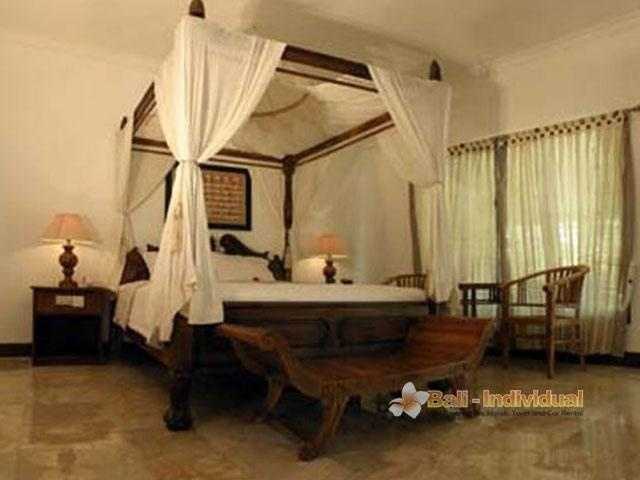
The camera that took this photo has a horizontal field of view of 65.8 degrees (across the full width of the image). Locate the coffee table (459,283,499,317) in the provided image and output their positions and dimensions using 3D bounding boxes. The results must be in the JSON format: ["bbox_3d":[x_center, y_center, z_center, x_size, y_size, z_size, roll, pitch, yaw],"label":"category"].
[{"bbox_3d":[1.894,0.716,5.877,0.455,0.471,0.691,1,2,20],"label":"coffee table"}]

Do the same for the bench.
[{"bbox_3d":[0.328,0.921,3.614,1.849,0.734,1.037,-1,2,-35],"label":"bench"}]

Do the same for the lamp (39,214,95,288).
[{"bbox_3d":[-2.863,0.101,5.685,0.562,0.833,0.621,-1,2,-24],"label":"lamp"}]

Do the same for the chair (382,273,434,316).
[{"bbox_3d":[1.009,0.556,5.700,0.341,0.454,0.310,5,-8,-19],"label":"chair"}]

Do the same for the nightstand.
[{"bbox_3d":[-2.807,0.931,5.552,0.742,0.737,0.571,3,-11,-20],"label":"nightstand"}]

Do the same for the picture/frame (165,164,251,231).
[{"bbox_3d":[-1.212,-0.472,5.350,0.951,0.681,0.067,4,-2,-27],"label":"picture/frame"}]

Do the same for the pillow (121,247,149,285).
[{"bbox_3d":[-2.187,0.311,5.996,0.158,0.397,0.701,-11,24,-20],"label":"pillow"}]

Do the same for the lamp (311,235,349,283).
[{"bbox_3d":[0.131,0.230,6.449,0.554,0.703,0.550,0,-2,-27],"label":"lamp"}]
